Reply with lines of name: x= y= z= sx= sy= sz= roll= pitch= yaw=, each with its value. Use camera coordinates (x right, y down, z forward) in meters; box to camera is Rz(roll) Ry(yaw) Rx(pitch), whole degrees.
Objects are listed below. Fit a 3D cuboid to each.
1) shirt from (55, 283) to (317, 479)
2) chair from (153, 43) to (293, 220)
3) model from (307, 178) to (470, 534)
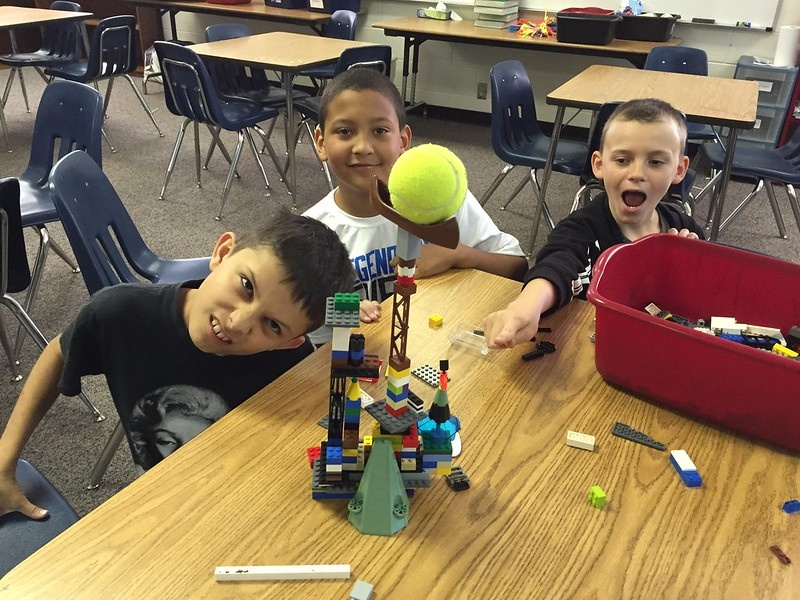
shirt: x=-0.500 y=0.153 z=1.418 sx=0.477 sy=0.530 sz=0.245 roll=-5 pitch=36 yaw=-26
chair: x=-1.065 y=-1.059 z=3.710 sx=0.496 sy=0.896 sz=0.649 roll=15 pitch=29 yaw=20
model: x=-0.022 y=0.091 z=0.927 sx=0.211 sy=0.474 sz=0.204 roll=19 pitch=31 yaw=29
